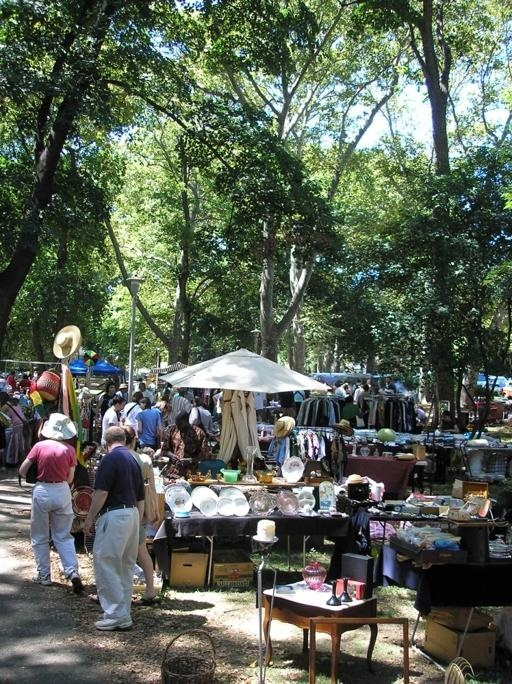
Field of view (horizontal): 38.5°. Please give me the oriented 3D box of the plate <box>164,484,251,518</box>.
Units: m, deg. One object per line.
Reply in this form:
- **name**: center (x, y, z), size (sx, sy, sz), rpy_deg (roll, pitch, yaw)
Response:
- **plate**: center (-0.501, 1.663, 7.610), size (0.552, 0.152, 0.397), rpy_deg (13, -26, 13)

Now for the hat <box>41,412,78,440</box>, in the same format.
- **hat**: center (-1.977, 0.865, 7.390), size (0.321, 0.276, 0.284), rpy_deg (5, -5, -24)

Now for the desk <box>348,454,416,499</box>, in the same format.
- **desk**: center (1.976, 2.192, 12.382), size (1.122, 0.569, 0.724), rpy_deg (6, 6, -4)

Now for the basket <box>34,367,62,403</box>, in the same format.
- **basket**: center (-2.705, 0.579, 9.586), size (0.315, 0.390, 0.488), rpy_deg (5, -4, -14)

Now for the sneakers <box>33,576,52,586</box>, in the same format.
- **sneakers**: center (-2.073, 2.323, 7.150), size (0.177, 0.083, 0.075), rpy_deg (7, 0, 43)

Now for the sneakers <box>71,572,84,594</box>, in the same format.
- **sneakers**: center (-1.666, 2.289, 6.932), size (0.084, 0.092, 0.220), rpy_deg (-1, 3, -29)

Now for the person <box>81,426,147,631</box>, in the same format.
- **person**: center (-1.175, 1.532, 6.089), size (0.511, 1.619, 0.427), rpy_deg (5, -4, -19)

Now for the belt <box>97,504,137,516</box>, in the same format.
- **belt**: center (-1.128, 1.379, 6.047), size (0.284, 0.112, 0.176), rpy_deg (4, -4, -8)

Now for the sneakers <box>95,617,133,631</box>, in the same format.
- **sneakers**: center (-1.165, 2.300, 6.021), size (0.321, 0.131, 0.102), rpy_deg (6, -16, 1)

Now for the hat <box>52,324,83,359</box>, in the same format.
- **hat**: center (-2.356, 0.011, 9.161), size (0.308, 0.473, 0.527), rpy_deg (5, -4, -15)

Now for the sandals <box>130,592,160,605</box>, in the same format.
- **sandals**: center (-1.027, 2.391, 6.831), size (0.288, 0.101, 0.097), rpy_deg (5, -16, 8)

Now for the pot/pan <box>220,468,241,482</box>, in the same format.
- **pot/pan**: center (-0.321, 1.676, 9.238), size (0.241, 0.119, 0.165), rpy_deg (2, -20, -5)

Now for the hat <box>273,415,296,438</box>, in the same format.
- **hat**: center (0.482, 1.211, 10.648), size (0.355, 0.329, 0.113), rpy_deg (-14, -34, 38)
